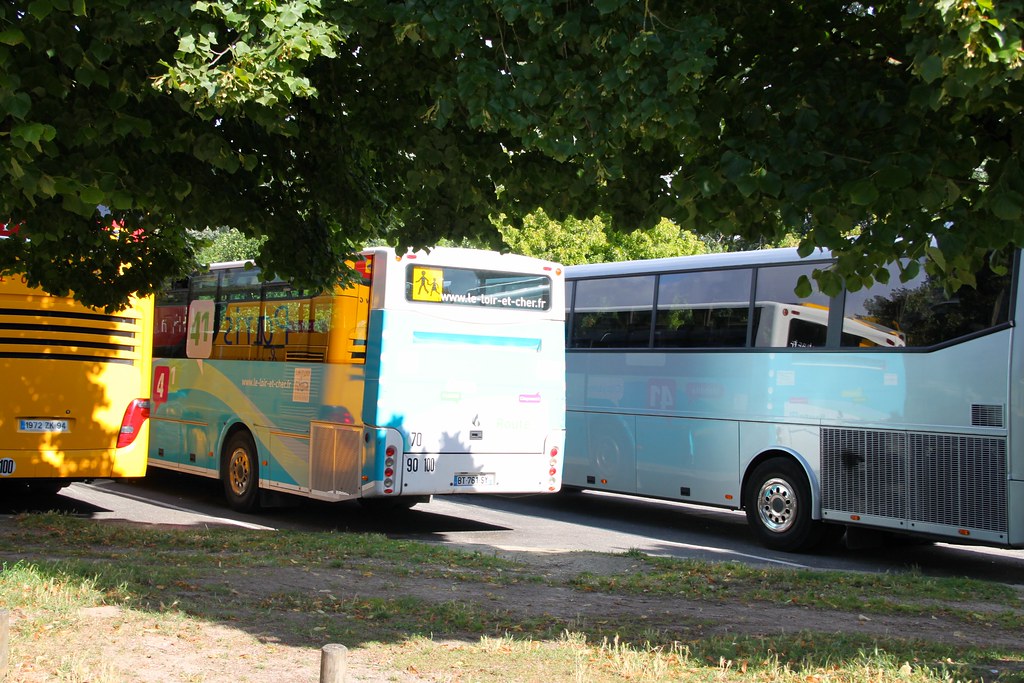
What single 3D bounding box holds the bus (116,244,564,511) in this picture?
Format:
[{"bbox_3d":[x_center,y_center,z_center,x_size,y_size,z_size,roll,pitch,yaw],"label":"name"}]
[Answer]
[{"bbox_3d":[-4.206,0.881,15.712,10.224,5.118,3.293,0,-5,30],"label":"bus"}]
